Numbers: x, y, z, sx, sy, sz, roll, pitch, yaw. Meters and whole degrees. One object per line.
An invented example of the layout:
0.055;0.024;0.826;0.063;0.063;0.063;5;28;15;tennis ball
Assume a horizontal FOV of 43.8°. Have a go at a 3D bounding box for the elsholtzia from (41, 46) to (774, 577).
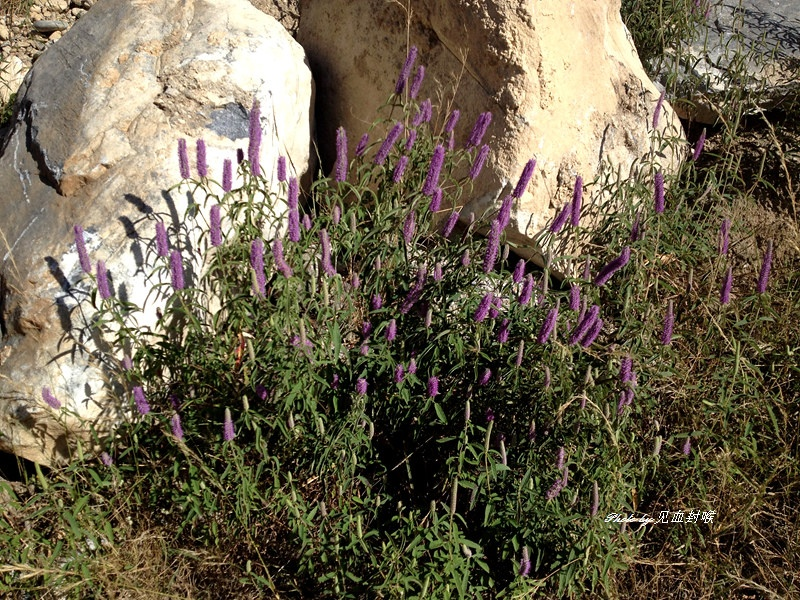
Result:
0.205;0.388;6.129;4.109;2.809;1.777;5;17;-5;elsholtzia
